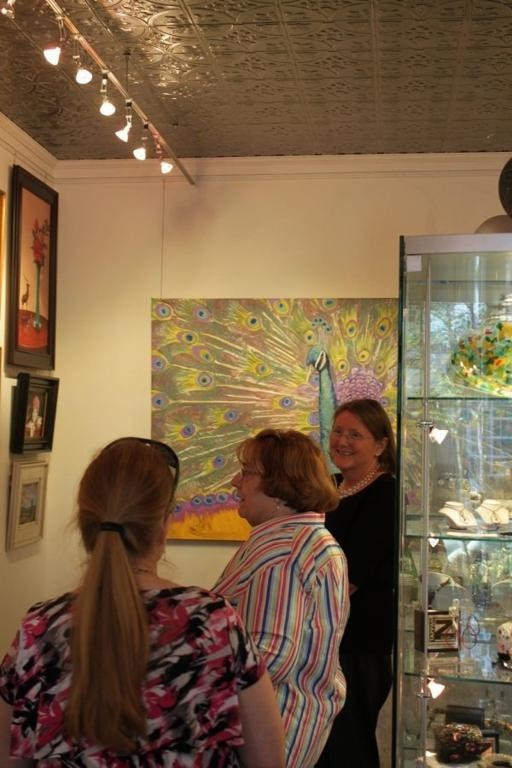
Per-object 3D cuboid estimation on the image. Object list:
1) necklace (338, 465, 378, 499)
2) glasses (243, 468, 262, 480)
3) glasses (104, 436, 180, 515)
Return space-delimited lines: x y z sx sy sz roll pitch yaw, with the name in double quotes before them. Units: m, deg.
"necklace" 0.438 0.430 2.492 0.188 0.048 0.145 -27 -2 -10
"glasses" -0.010 0.206 1.351 0.032 0.011 0.023 14 -13 -28
"glasses" -0.171 0.147 0.983 0.125 0.120 0.036 3 -3 -2
